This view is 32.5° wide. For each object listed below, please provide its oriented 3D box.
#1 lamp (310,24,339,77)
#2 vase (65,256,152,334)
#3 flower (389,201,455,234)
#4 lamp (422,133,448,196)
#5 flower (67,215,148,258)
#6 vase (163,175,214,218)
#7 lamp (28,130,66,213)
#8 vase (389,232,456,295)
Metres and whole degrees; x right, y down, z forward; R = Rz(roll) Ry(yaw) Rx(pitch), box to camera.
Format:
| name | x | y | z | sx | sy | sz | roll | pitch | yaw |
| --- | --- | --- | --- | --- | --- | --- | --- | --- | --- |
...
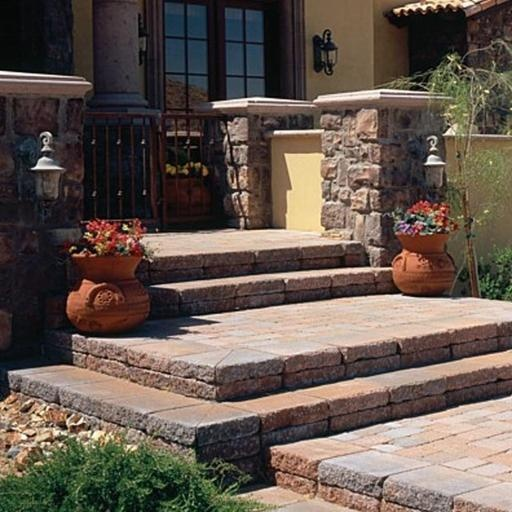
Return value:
| name | x | y | z | sx | sy | sz | roll | pitch | yaw |
| --- | --- | --- | --- | --- | --- | --- | --- | --- | --- |
| lamp | 1.058 | -2.885 | 12.338 | 0.317 | 0.641 | 0.487 | 2 | 8 | 32 |
| vase | -1.043 | 0.250 | 6.156 | 0.558 | 0.556 | 0.601 | 0 | 3 | 14 |
| flower | 1.489 | -0.326 | 7.553 | 0.466 | 0.234 | 0.424 | -20 | 2 | 24 |
| lamp | 1.646 | -0.837 | 7.983 | 0.187 | 0.542 | 0.510 | -1 | 7 | 12 |
| flower | -1.041 | -0.094 | 6.033 | 0.436 | 0.238 | 0.306 | 6 | -16 | -35 |
| vase | -0.767 | -0.644 | 9.521 | 0.272 | 0.486 | 0.778 | 2 | 9 | 32 |
| lamp | -1.461 | -0.612 | 6.124 | 0.216 | 0.535 | 0.227 | -1 | 4 | -26 |
| vase | 1.490 | 0.083 | 7.622 | 0.474 | 0.549 | 0.496 | -2 | -3 | -4 |
